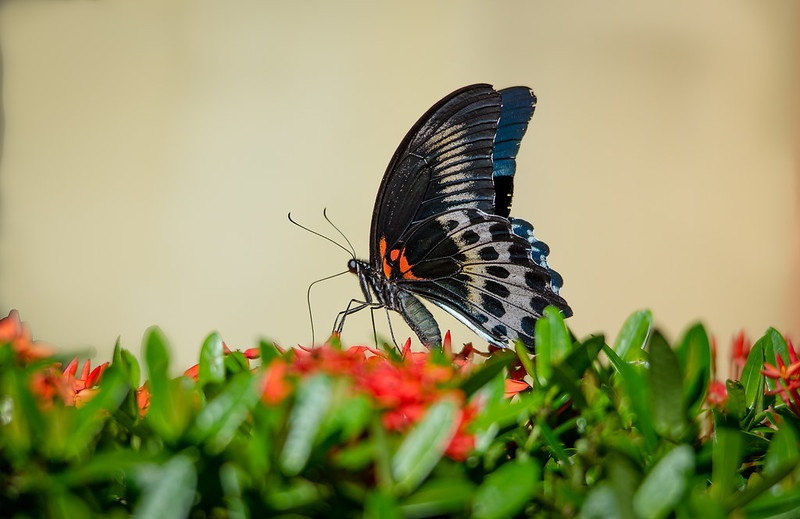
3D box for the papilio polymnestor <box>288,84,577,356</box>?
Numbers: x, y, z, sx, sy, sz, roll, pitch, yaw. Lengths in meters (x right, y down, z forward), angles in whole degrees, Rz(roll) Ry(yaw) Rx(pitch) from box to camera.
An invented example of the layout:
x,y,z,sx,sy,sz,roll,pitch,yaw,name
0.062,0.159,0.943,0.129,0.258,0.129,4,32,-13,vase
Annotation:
x,y,z,sx,sy,sz,roll,pitch,yaw,name
0.049,-0.111,2.355,0.764,0.730,0.571,4,-7,-3,papilio polymnestor
